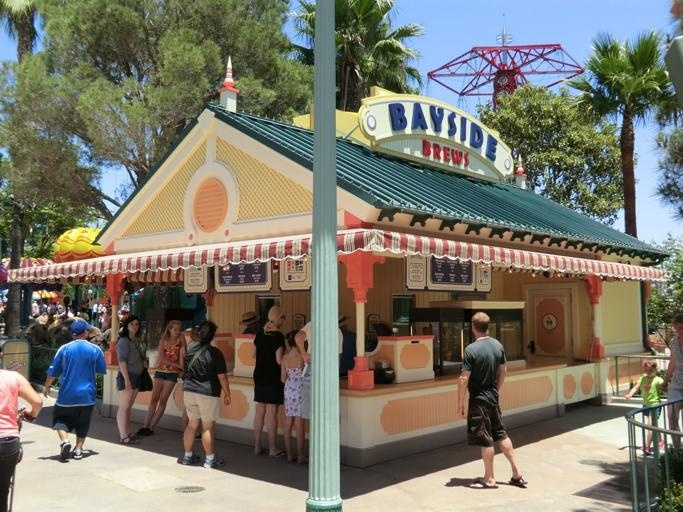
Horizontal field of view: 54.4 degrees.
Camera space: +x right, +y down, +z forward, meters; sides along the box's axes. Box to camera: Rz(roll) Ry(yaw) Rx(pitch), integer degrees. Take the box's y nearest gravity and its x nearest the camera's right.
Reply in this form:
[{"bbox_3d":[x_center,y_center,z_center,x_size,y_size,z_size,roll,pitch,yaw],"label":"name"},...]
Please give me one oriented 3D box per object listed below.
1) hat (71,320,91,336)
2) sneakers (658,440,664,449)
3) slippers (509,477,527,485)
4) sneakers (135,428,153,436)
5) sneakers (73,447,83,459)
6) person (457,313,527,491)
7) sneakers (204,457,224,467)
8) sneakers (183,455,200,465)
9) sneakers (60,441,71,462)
[{"bbox_3d":[-4.787,1.262,12.329,0.210,0.224,0.347,1,24,8],"label":"hat"},{"bbox_3d":[5.922,3.491,12.377,0.053,0.157,0.452,-2,-8,21],"label":"sneakers"},{"bbox_3d":[2.985,3.838,11.291,0.117,0.119,0.330,4,-9,-29],"label":"slippers"},{"bbox_3d":[-4.198,3.749,14.191,0.138,0.160,0.335,-9,-18,38],"label":"sneakers"},{"bbox_3d":[-4.943,3.709,12.545,0.181,0.197,0.344,3,-8,-22],"label":"sneakers"},{"bbox_3d":[2.444,2.412,11.195,1.162,2.914,0.546,5,-8,-35],"label":"person"},{"bbox_3d":[-2.304,3.733,12.103,0.353,0.190,0.172,4,-6,-24],"label":"sneakers"},{"bbox_3d":[-2.751,3.748,12.312,0.135,0.184,0.356,1,1,39],"label":"sneakers"},{"bbox_3d":[-5.081,3.602,12.305,0.160,0.481,0.190,-11,38,-38],"label":"sneakers"}]
